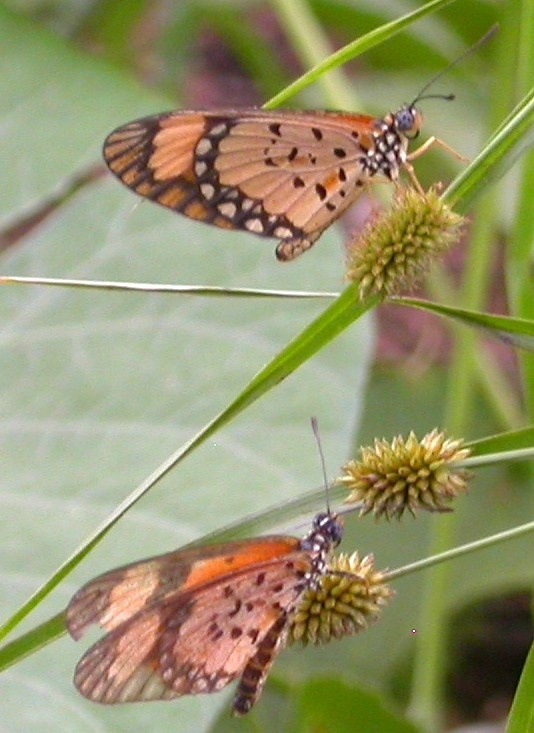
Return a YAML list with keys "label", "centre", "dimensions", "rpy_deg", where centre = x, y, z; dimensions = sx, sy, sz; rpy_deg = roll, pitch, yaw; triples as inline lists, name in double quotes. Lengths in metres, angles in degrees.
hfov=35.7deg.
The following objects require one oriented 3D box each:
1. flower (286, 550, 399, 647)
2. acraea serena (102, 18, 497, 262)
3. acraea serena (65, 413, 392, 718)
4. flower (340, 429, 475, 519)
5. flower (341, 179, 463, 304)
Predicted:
- label: "flower"
  centre: [0.047, 0.170, 0.644]
  dimensions: [0.097, 0.041, 0.075]
  rpy_deg: [11, -15, -20]
- label: "acraea serena"
  centre: [0.040, -0.180, 0.748]
  dimensions: [0.367, 0.142, 0.113]
  rpy_deg: [-18, 7, -15]
- label: "acraea serena"
  centre: [-0.060, 0.177, 0.732]
  dimensions: [0.337, 0.222, 0.127]
  rpy_deg: [-8, -9, -32]
- label: "flower"
  centre: [0.099, 0.074, 0.631]
  dimensions: [0.098, 0.047, 0.087]
  rpy_deg: [-1, -9, -8]
- label: "flower"
  centre: [0.101, -0.090, 0.628]
  dimensions: [0.070, 0.074, 0.086]
  rpy_deg: [15, 32, 30]
